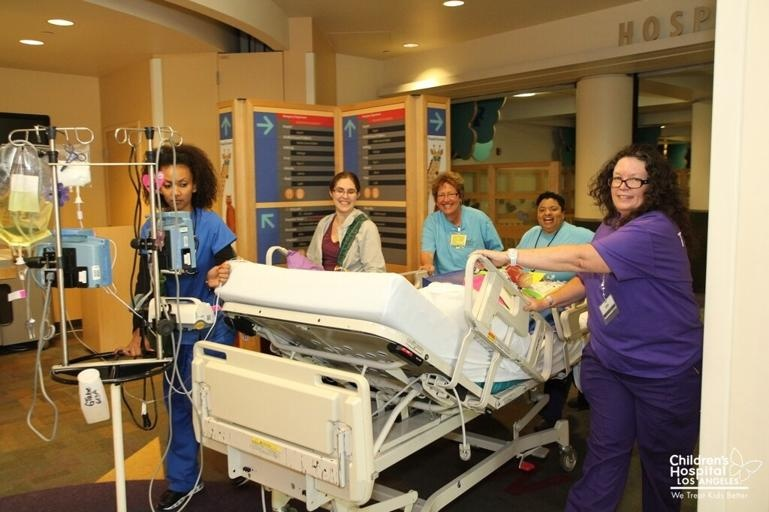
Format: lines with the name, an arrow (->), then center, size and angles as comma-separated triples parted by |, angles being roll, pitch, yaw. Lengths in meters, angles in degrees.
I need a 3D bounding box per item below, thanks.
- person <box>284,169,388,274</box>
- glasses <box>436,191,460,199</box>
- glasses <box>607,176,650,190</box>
person -> -0.415, -0.302, 4.870 | 0.961, 0.891, 0.567 | 6, 9, 34
glasses -> 0.521, -0.511, 4.692 | 0.181, 0.052, 0.071 | -1, 7, 5
glasses -> 1.310, -0.392, 3.004 | 0.181, 0.067, 0.054 | 1, 8, 23
